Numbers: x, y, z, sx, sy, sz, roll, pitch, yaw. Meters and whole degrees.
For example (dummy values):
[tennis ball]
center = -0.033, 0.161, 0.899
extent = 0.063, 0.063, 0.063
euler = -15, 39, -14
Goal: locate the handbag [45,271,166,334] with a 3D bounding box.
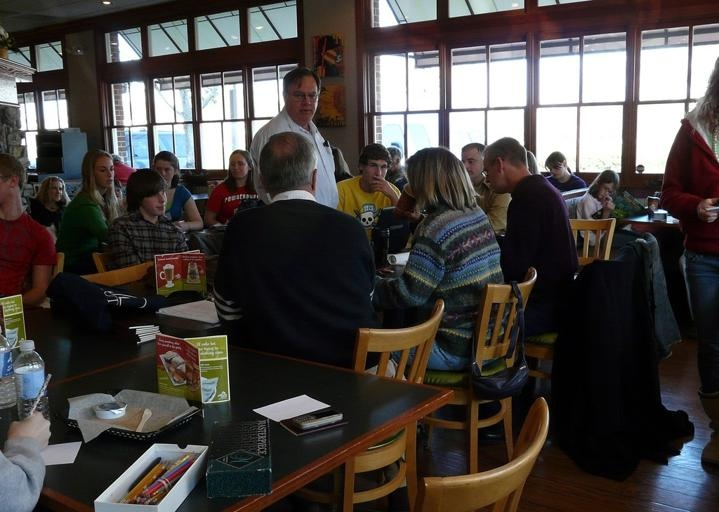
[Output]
[handbag]
center = -1.059, 0.199, 2.373
extent = 0.307, 0.123, 0.302
euler = 21, 4, 32

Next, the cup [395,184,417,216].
[cup]
center = 0.258, -0.305, 3.209
extent = 0.137, 0.151, 0.164
euler = 15, 27, -3

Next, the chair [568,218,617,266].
[chair]
center = 1.617, -0.102, 3.865
extent = 0.271, 0.446, 0.312
euler = 5, 27, 21

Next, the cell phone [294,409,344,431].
[cell phone]
center = -0.112, 0.444, 1.553
extent = 0.100, 0.022, 0.053
euler = -8, 15, -36

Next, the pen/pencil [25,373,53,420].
[pen/pencil]
center = -0.922, 0.407, 1.606
extent = 0.025, 0.127, 0.027
euler = 19, -12, 26
